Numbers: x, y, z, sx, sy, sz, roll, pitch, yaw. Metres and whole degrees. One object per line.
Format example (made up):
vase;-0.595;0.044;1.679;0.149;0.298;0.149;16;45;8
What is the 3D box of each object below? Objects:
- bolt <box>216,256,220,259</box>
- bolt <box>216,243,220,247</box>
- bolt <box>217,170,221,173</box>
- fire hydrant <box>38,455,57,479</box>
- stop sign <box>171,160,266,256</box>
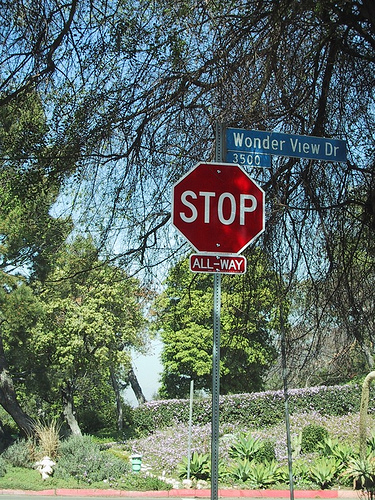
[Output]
bolt;0.205;0.046;5.393;0.018;0.019;0.005;-1;0;-1
bolt;0.208;-0.037;5.413;0.022;0.023;0.005;2;-2;-5
bolt;0.217;-0.548;5.493;0.023;0.024;0.006;0;1;3
fire hydrant;-2.999;4.610;16.847;0.324;0.387;0.370;-1;-2;18
stop sign;0.210;-0.300;5.445;0.812;0.862;0.097;0;-4;-4
